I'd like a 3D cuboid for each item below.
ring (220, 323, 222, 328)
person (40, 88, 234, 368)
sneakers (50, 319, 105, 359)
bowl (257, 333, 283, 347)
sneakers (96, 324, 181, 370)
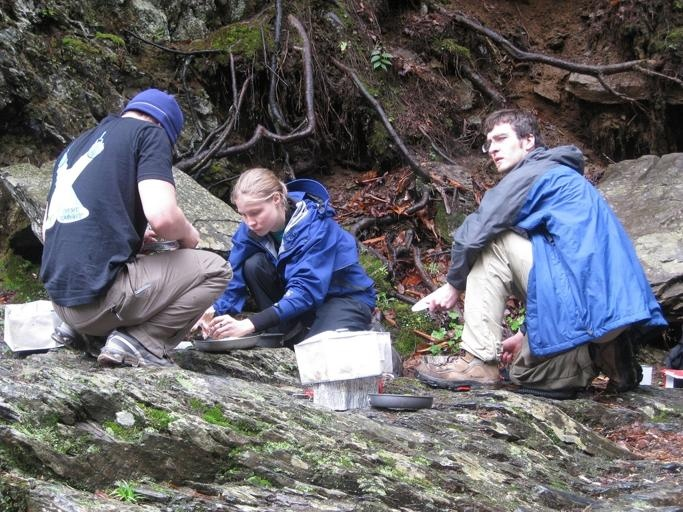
[{"bbox_3d":[-0.908,0.524,5.571,0.021,0.005,0.018,-7,49,-5],"label":"ring"},{"bbox_3d":[-1.413,-0.097,4.910,1.109,1.692,0.425,-3,5,1],"label":"person"},{"bbox_3d":[-1.773,0.567,5.016,0.348,0.143,0.114,24,23,-9],"label":"sneakers"},{"bbox_3d":[-0.607,0.727,6.341,0.195,0.078,0.156,-2,1,7],"label":"bowl"},{"bbox_3d":[-1.287,0.608,4.836,0.560,0.241,0.202,10,-14,-29],"label":"sneakers"}]
